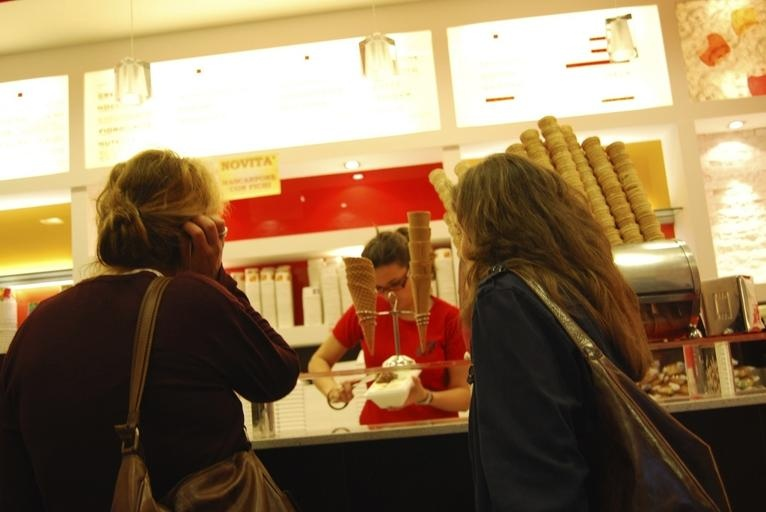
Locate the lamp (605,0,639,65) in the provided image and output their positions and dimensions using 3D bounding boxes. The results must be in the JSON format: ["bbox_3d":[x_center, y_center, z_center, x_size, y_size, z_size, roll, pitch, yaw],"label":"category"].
[{"bbox_3d":[1.295,-1.194,3.725,0.142,0.276,0.233,-7,0,20],"label":"lamp"}]

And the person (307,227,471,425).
[{"bbox_3d":[0.044,0.460,3.177,0.750,1.117,0.704,1,-14,3],"label":"person"}]

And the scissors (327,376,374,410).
[{"bbox_3d":[-0.115,0.521,2.614,0.170,0.121,0.041,-43,-33,13],"label":"scissors"}]

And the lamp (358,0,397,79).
[{"bbox_3d":[-0.021,-1.045,3.614,0.190,0.360,0.156,-7,0,0],"label":"lamp"}]

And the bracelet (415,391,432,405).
[{"bbox_3d":[0.163,0.552,2.677,0.055,0.021,0.056,-9,-11,22],"label":"bracelet"}]
